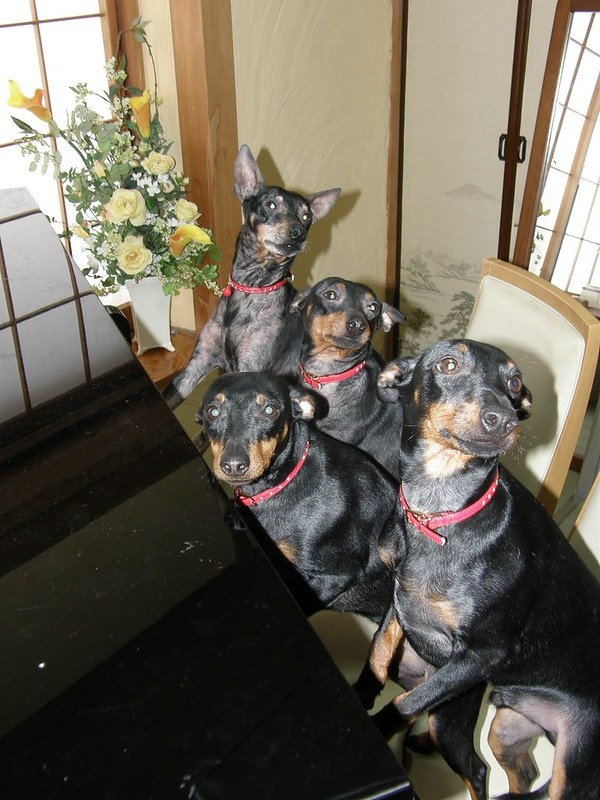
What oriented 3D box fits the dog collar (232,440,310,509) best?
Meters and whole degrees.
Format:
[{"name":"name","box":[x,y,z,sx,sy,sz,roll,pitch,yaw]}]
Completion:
[{"name":"dog collar","box":[-0.061,0.142,1.153,0.123,0.031,0.096,-42,1,-13]}]

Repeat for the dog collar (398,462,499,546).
[{"name":"dog collar","box":[0.251,0.153,0.954,0.174,0.051,0.156,-39,19,-28]}]

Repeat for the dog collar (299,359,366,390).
[{"name":"dog collar","box":[0.088,-0.064,1.588,0.111,0.031,0.099,-11,11,-5]}]
